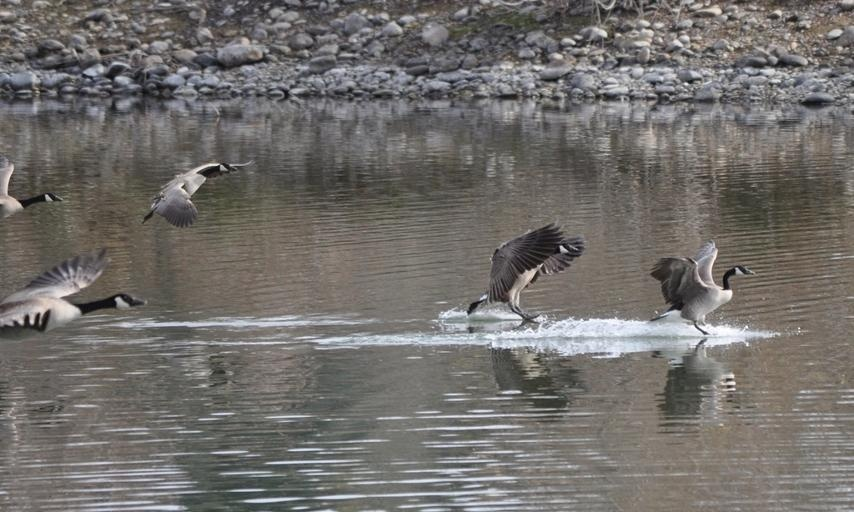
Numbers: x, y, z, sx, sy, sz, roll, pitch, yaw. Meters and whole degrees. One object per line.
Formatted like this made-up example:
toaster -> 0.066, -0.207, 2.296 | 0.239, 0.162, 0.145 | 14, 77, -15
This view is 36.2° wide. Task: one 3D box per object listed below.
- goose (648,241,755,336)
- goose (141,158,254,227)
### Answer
goose -> 4.913, 0.618, 24.554 | 2.207, 1.730, 1.089 | -1, 10, -15
goose -> -4.540, -1.124, 24.630 | 2.287, 0.652, 2.033 | -2, 17, 4
